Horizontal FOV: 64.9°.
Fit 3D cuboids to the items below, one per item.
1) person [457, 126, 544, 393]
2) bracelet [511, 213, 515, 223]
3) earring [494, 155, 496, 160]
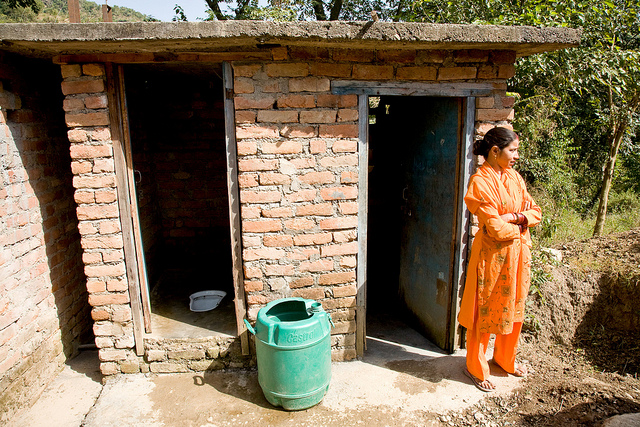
[{"bbox_3d":[1.799,0.465,5.031,0.767,2.596,0.878,6,21,21],"label":"person"},{"bbox_3d":[1.890,0.037,4.921,0.025,0.084,0.100,1,-2,30],"label":"bracelet"},{"bbox_3d":[1.740,-0.562,4.983,0.013,0.043,0.007,4,21,16],"label":"earring"}]
